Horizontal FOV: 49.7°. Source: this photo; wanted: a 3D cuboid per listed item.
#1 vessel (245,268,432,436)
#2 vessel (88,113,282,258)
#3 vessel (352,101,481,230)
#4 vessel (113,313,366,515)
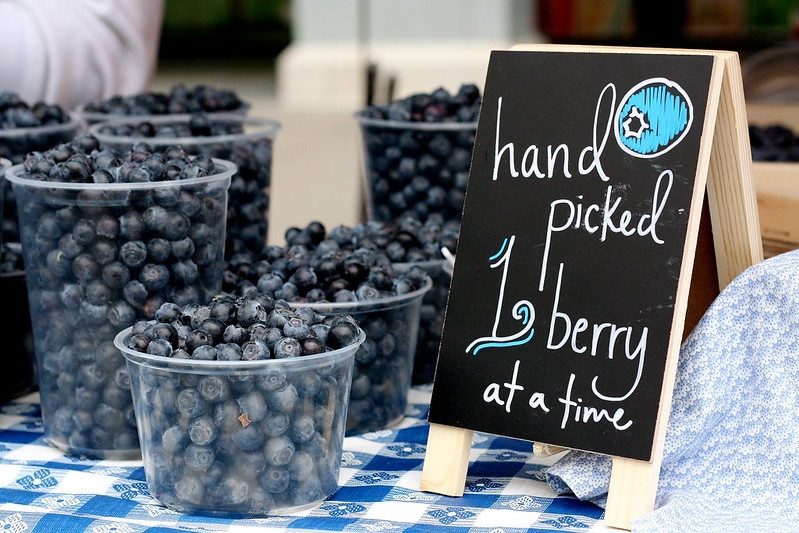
[{"bbox_3d":[-0.101,0.170,1.953,0.308,0.250,0.335,3,11,11],"label":"vessel"},{"bbox_3d":[-0.521,-0.114,1.970,0.329,0.271,0.344,-1,18,3],"label":"vessel"},{"bbox_3d":[0.043,-0.246,2.144,0.275,0.221,0.292,3,6,3],"label":"vessel"},{"bbox_3d":[-0.305,0.242,1.602,0.360,0.238,0.354,-7,10,-42],"label":"vessel"}]
